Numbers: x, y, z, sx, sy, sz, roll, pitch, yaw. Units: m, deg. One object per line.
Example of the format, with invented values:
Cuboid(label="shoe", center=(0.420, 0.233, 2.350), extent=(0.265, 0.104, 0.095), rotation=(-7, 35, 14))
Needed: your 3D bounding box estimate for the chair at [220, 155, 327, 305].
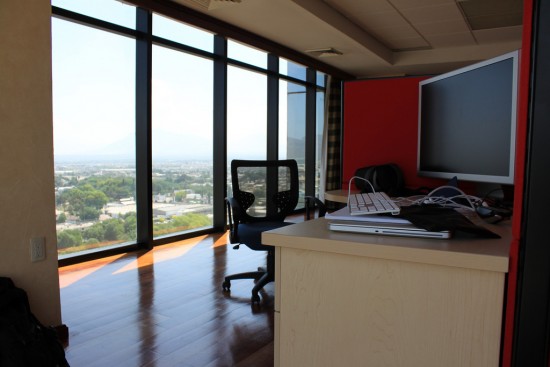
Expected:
Cuboid(label="chair", center=(-0.038, 0.375, 3.194), extent=(0.809, 1.082, 0.716), rotation=(1, 6, -22))

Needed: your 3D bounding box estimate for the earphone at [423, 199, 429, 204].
Cuboid(label="earphone", center=(0.649, 0.072, 1.595), extent=(0.023, 0.011, 0.037), rotation=(-3, 6, 18))

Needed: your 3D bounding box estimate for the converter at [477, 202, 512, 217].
Cuboid(label="converter", center=(0.956, 0.117, 1.625), extent=(0.074, 0.042, 0.101), rotation=(-6, 10, -36))
